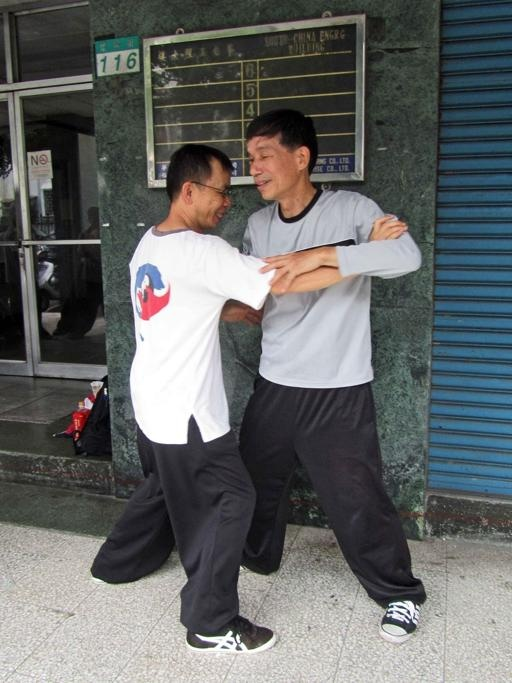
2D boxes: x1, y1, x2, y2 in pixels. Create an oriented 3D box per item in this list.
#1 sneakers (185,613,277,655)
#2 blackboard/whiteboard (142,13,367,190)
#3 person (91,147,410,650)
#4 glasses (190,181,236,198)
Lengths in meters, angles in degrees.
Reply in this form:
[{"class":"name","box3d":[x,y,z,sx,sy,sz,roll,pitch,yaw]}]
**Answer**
[{"class":"sneakers","box3d":[-0.074,1.077,2.266,0.358,0.125,0.116,0,-8,-2]},{"class":"blackboard/whiteboard","box3d":[0.035,-1.080,2.695,1.268,0.728,0.086,2,9,27]},{"class":"person","box3d":[-0.257,0.216,2.213,0.444,1.807,0.705,-9,17,-30]},{"class":"glasses","box3d":[-0.142,-0.533,2.143,0.138,0.036,0.124,16,12,10]}]
